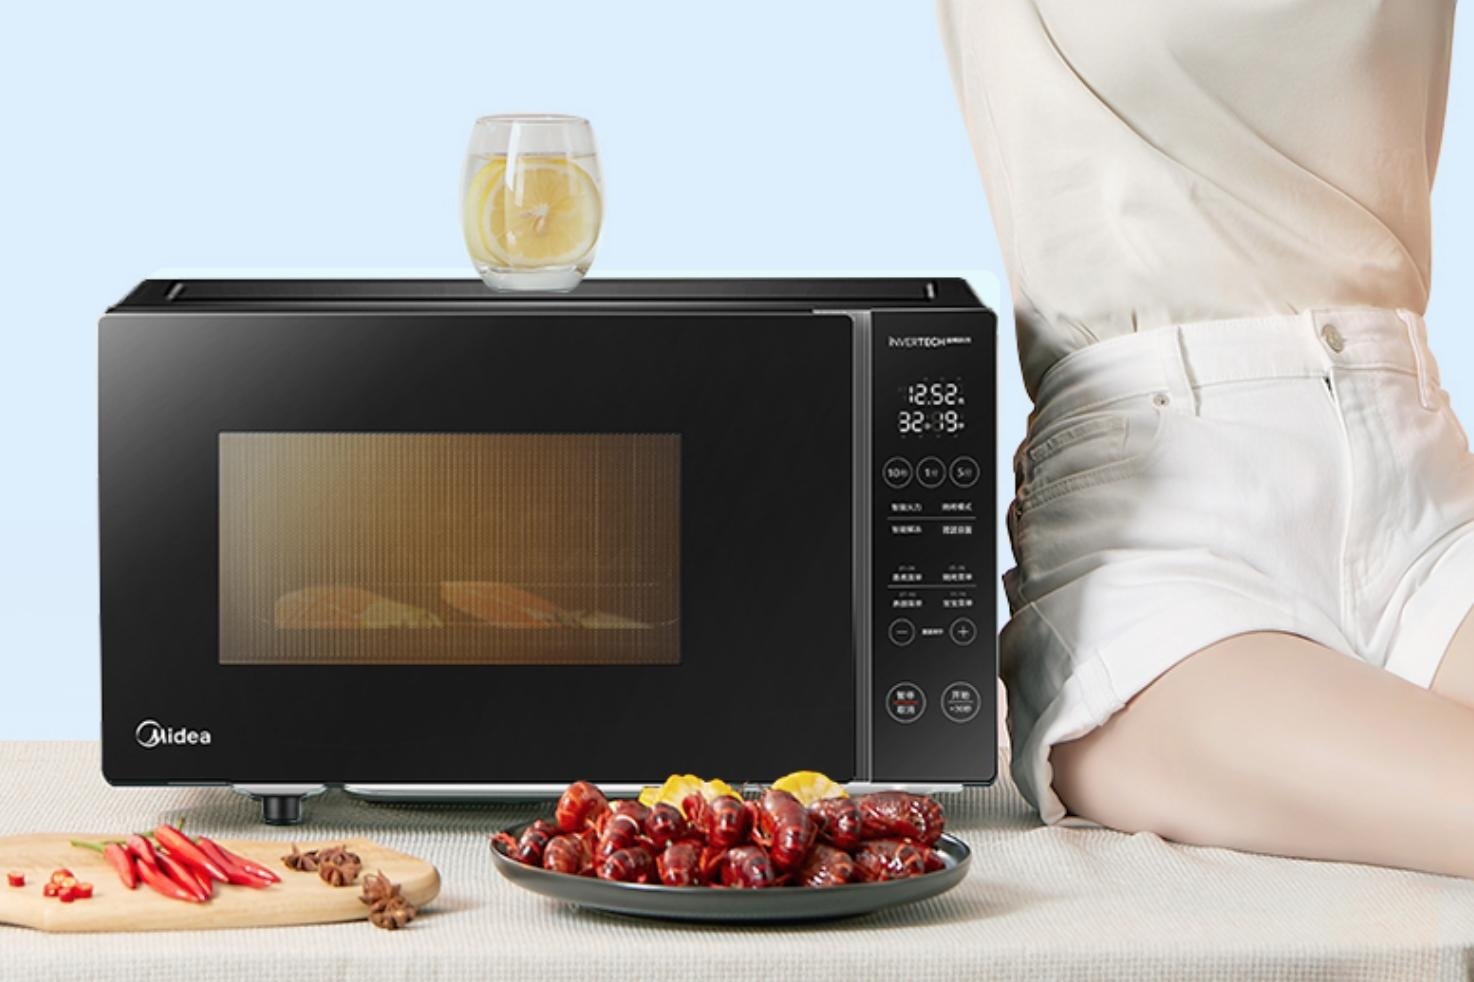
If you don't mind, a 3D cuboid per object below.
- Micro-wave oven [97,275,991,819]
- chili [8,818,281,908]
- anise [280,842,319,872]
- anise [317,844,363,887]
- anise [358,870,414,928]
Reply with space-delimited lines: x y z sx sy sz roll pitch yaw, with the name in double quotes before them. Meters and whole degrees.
"Micro-wave oven" -0.096 0.074 1.493 0.919 0.425 0.459 -1 -6 22
"chili" -0.437 0.291 1.116 0.103 0.019 0.091 11 10 42
"anise" -0.347 0.290 1.146 0.023 0.006 0.023 14 14 38
"anise" -0.314 0.293 1.123 0.027 0.010 0.027 16 12 27
"anise" -0.273 0.310 1.092 0.058 0.029 0.026 7 11 42
